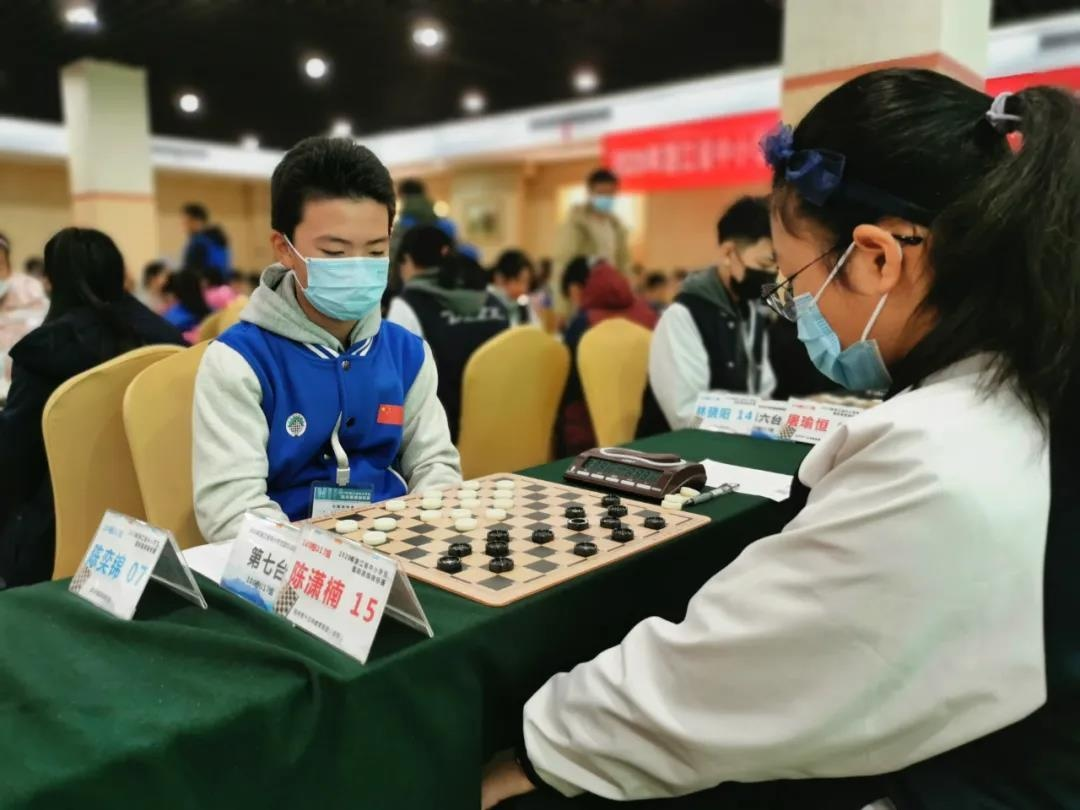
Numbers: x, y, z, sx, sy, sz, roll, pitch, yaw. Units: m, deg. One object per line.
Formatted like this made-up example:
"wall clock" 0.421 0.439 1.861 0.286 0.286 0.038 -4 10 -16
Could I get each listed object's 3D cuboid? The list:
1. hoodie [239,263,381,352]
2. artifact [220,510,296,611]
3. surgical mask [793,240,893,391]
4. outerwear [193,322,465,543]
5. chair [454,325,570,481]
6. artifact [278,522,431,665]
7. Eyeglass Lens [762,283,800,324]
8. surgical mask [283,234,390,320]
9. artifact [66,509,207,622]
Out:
"hoodie" -0.541 -0.207 2.062 0.260 0.148 0.216 15 2 8
"artifact" -0.451 0.252 1.418 0.141 0.141 0.035 17 -1 36
"surgical mask" 0.524 -0.154 1.536 0.090 0.219 0.211 19 -2 17
"outerwear" -0.551 0.111 2.188 0.697 0.687 0.411 11 -24 -38
"chair" -0.110 0.001 3.244 0.379 0.750 0.415 -9 21 -30
"artifact" -0.303 0.279 1.348 0.230 0.142 0.117 14 14 36
"Eyeglass Lens" 0.447 -0.192 1.608 0.081 0.028 0.082 37 5 4
"surgical mask" -0.434 -0.288 1.861 0.199 0.143 0.252 -5 -23 7
"artifact" -0.668 0.254 1.436 0.209 0.136 0.124 8 6 39
